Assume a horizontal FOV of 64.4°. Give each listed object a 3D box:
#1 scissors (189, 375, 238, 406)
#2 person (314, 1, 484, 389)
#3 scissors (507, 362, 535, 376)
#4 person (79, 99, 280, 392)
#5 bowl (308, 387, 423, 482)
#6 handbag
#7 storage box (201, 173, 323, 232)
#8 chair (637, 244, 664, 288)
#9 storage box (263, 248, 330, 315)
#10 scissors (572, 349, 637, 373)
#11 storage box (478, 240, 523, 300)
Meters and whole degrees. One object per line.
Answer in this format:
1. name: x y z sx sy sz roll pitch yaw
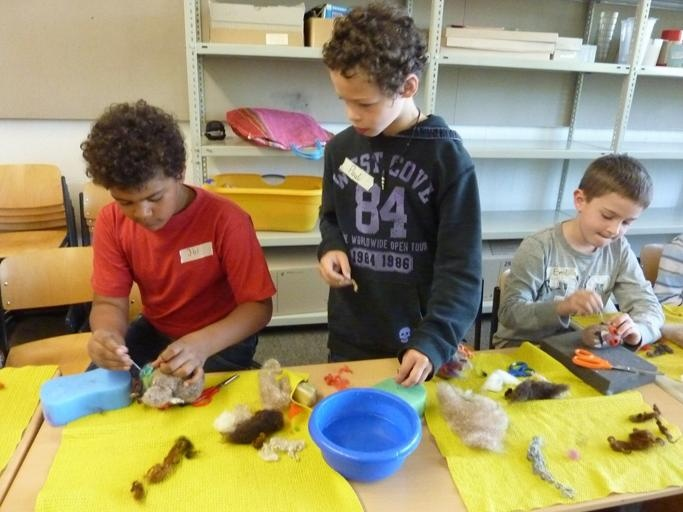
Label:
1. scissors: -0.354 0.373 1.523 0.046 0.009 0.098 19 27 29
2. person: 0.147 -0.155 1.640 0.385 1.119 0.636 -12 21 -31
3. scissors: 0.535 0.335 1.606 0.040 0.025 0.052 -7 11 -7
4. person: -0.518 -0.023 1.727 0.553 0.913 0.571 0 22 -6
5. bowl: 0.083 0.472 1.320 0.247 0.098 0.251 -8 2 0
6. handbag: -0.326 -0.551 2.857 0.378 0.141 0.417 37 21 34
7. storage box: -0.391 -0.291 2.845 0.500 0.208 0.374 2 13 -2
8. chair: 1.315 0.042 2.297 0.114 0.152 0.122 16 30 35
9. storage box: -0.232 0.124 2.896 0.334 0.349 0.214 -3 1 -19
10. scissors: 0.755 0.292 1.565 0.069 0.017 0.130 -30 39 -35
11. storage box: 0.722 0.069 2.479 0.281 0.198 0.158 -1 26 -4
